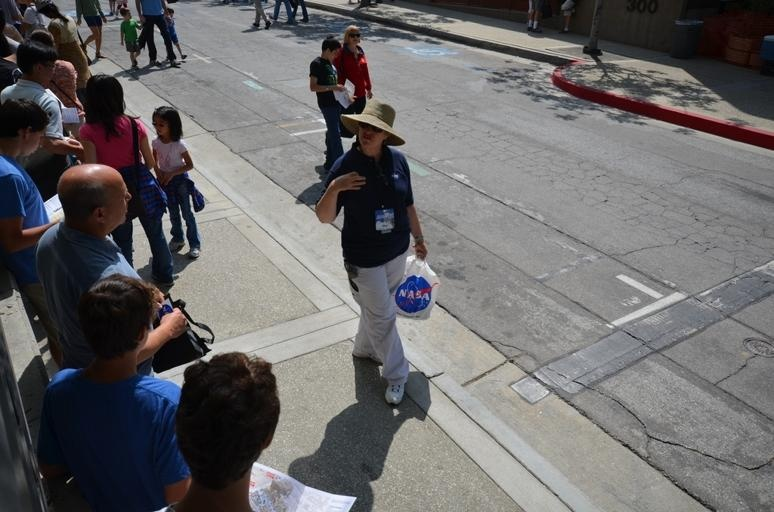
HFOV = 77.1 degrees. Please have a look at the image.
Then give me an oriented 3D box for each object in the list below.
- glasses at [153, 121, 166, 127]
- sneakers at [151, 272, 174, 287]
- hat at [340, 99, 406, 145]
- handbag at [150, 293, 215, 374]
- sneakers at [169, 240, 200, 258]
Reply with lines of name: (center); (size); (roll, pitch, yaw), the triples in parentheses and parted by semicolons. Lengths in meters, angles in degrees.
glasses: (-2.740, -1.587, 5.857); (0.105, 0.030, 0.101); (6, 10, -1)
sneakers: (-2.745, 0.282, 5.825); (0.339, 0.134, 0.110); (-2, 52, -10)
hat: (-0.115, -1.153, 4.329); (0.453, 0.422, 0.440); (21, 33, 28)
handbag: (-1.567, 0.587, 3.611); (0.323, 0.504, 0.397); (-38, 28, 8)
sneakers: (-2.687, -0.081, 6.473); (0.559, 0.164, 0.220); (6, -2, 6)
